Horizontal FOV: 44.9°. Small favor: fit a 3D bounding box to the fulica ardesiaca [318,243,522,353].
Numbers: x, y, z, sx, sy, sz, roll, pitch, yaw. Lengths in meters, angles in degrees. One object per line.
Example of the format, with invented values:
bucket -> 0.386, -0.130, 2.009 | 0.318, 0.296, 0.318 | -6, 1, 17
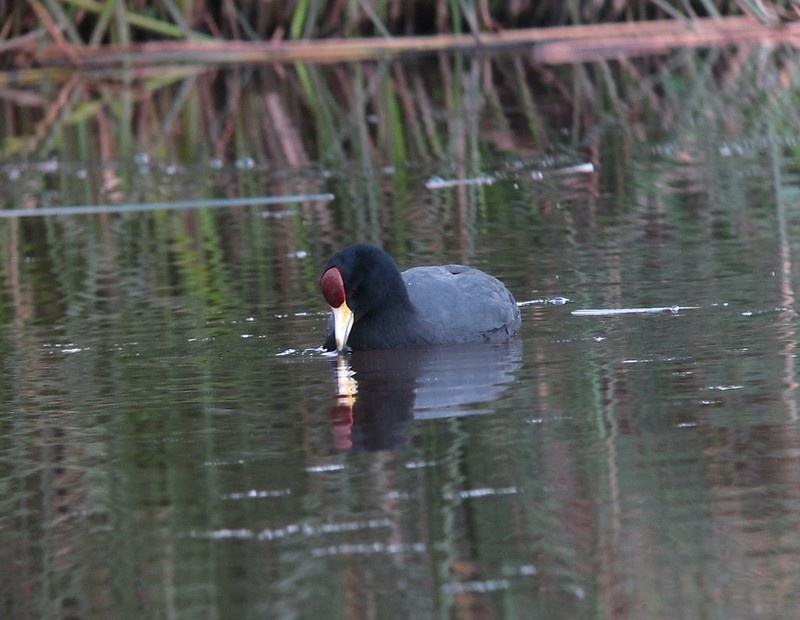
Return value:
fulica ardesiaca -> 0.026, -0.070, 6.102 | 1.117, 0.605, 0.733 | -11, 5, -32
